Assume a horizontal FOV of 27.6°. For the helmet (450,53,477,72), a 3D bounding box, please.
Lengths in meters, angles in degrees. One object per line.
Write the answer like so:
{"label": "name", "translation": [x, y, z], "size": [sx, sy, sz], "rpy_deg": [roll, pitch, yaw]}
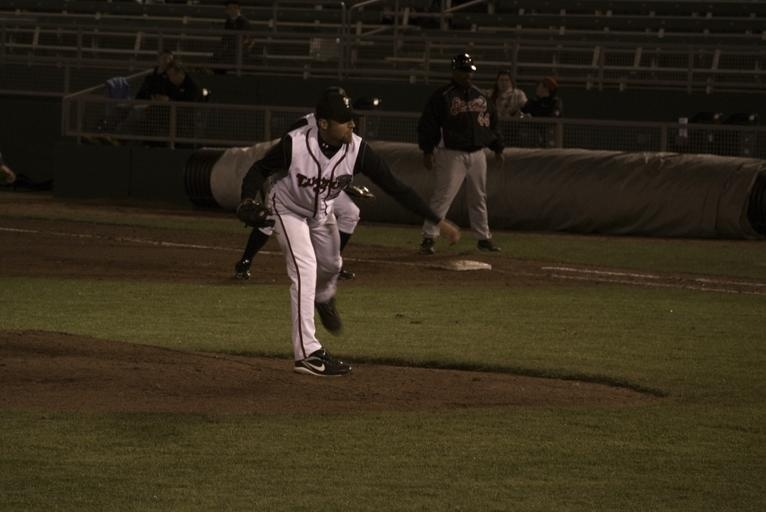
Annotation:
{"label": "helmet", "translation": [1.226, -2.909, 23.519], "size": [0.300, 0.265, 0.409], "rpy_deg": [5, 9, 7]}

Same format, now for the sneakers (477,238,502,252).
{"label": "sneakers", "translation": [1.698, -0.164, 24.067], "size": [0.455, 0.195, 0.152], "rpy_deg": [4, 19, 8]}

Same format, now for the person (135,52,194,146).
{"label": "person", "translation": [-4.157, -2.982, 29.774], "size": [0.680, 1.854, 1.018], "rpy_deg": [-4, 12, -43]}

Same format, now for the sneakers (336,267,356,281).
{"label": "sneakers", "translation": [-0.495, 0.262, 22.117], "size": [0.262, 0.234, 0.119], "rpy_deg": [-12, 44, -18]}

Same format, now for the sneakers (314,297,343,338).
{"label": "sneakers", "translation": [-0.640, 0.723, 19.082], "size": [0.209, 0.576, 0.255], "rpy_deg": [-33, 15, -34]}

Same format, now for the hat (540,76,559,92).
{"label": "hat", "translation": [3.031, -3.128, 28.392], "size": [0.273, 0.238, 0.435], "rpy_deg": [5, 8, 3]}
